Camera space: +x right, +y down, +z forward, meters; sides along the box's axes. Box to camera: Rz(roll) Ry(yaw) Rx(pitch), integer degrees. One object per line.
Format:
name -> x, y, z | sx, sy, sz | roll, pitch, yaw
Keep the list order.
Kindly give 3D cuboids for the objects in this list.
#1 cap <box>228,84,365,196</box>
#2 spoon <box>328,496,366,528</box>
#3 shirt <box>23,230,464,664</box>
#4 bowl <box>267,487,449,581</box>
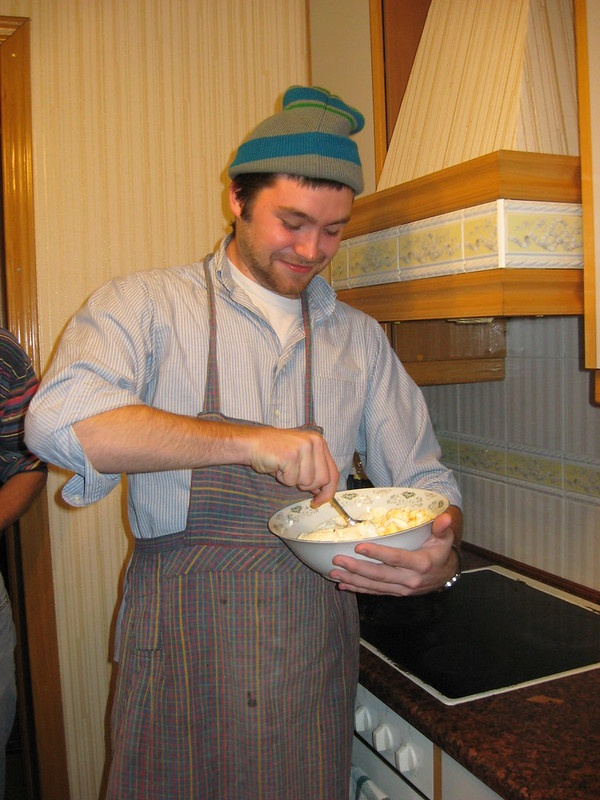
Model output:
cap -> 0.001, -0.409, 1.007 | 0.199, 0.158, 0.204 | -1, 15, -15
spoon -> 0.076, 0.172, 0.936 | 0.022, 0.092, 0.014 | -39, 30, -3
shirt -> -0.053, -0.012, 1.027 | 0.711, 0.461, 0.343 | -1, 4, -23
bowl -> 0.081, 0.169, 0.896 | 0.160, 0.055, 0.157 | -7, 2, 0
